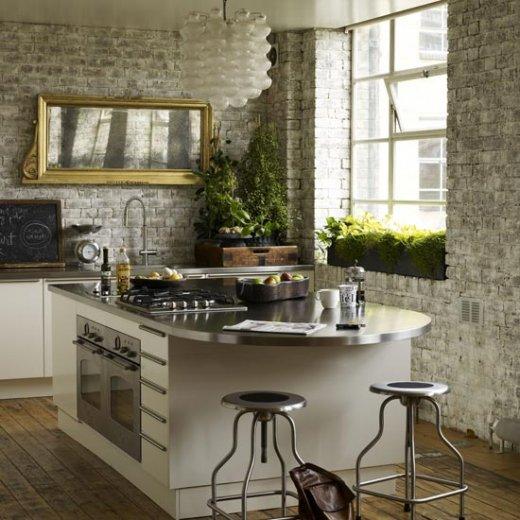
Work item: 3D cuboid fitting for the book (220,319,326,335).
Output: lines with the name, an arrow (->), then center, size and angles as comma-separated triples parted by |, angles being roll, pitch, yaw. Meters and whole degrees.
book -> 0.058, 0.256, 2.138 | 0.378, 0.029, 0.384 | 0, -2, 5

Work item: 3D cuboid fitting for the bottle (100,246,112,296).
bottle -> -0.952, 0.068, 3.447 | 0.056, 0.298, 0.371 | 1, -3, -16

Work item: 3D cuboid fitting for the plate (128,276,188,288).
plate -> -0.634, 0.138, 3.421 | 0.318, 0.065, 0.186 | 1, -2, -11

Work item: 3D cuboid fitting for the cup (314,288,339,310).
cup -> 0.344, 0.209, 2.906 | 0.130, 0.078, 0.089 | -1, 1, 7

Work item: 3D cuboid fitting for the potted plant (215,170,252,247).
potted plant -> -0.261, -0.539, 5.755 | 0.372, 0.776, 0.422 | 1, -3, -10

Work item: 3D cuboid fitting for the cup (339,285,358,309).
cup -> 0.403, 0.162, 2.560 | 0.079, 0.109, 0.111 | 0, -3, 8

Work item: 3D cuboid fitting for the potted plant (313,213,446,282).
potted plant -> 0.998, -0.141, 4.721 | 0.459, 0.619, 1.526 | 1, -2, -15

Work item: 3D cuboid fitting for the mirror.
mirror -> -1.372, -1.219, 5.787 | 2.139, 0.883, 0.128 | -9, 19, -44

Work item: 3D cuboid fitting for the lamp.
lamp -> -0.163, -1.002, 2.651 | 0.423, 0.479, 0.393 | 0, -3, 0

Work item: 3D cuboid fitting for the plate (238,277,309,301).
plate -> 0.078, 0.149, 3.079 | 0.338, 0.079, 0.156 | -2, 3, -30
